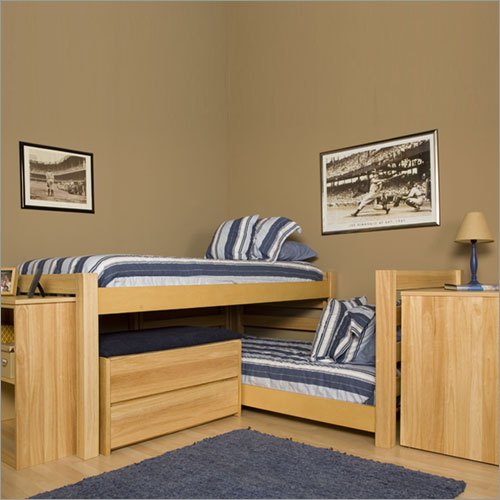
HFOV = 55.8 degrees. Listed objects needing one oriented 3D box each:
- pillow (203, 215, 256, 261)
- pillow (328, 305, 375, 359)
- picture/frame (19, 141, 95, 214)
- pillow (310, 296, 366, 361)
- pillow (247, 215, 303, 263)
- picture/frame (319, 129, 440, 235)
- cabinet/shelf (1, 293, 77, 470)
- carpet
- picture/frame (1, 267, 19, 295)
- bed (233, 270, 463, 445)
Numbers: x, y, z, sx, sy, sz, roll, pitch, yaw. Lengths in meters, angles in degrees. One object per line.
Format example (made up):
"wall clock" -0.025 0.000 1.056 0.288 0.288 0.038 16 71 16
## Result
"pillow" -0.126 -0.093 3.484 0.108 0.341 0.356 32 -14 -37
"pillow" 0.572 0.473 2.664 0.250 0.267 0.091 16 2 -31
"picture/frame" -1.381 -0.517 3.408 0.024 0.454 0.588 7 9 32
"pillow" 0.460 0.452 2.777 0.106 0.320 0.357 6 -3 40
"pillow" 0.177 -0.063 3.380 0.313 0.320 0.098 19 -11 35
"picture/frame" 0.889 -0.455 3.353 0.022 0.619 0.975 -5 3 -38
"cabinet/shelf" -0.892 0.574 2.024 0.266 0.622 0.723 2 -5 -35
"carpet" 0.053 0.888 1.857 1.498 0.023 0.642 0 -3 10
"picture/frame" -1.239 0.162 2.436 0.139 0.093 0.016 -12 -13 35
"bed" 0.536 0.530 2.728 0.956 0.656 0.904 -2 -5 36
